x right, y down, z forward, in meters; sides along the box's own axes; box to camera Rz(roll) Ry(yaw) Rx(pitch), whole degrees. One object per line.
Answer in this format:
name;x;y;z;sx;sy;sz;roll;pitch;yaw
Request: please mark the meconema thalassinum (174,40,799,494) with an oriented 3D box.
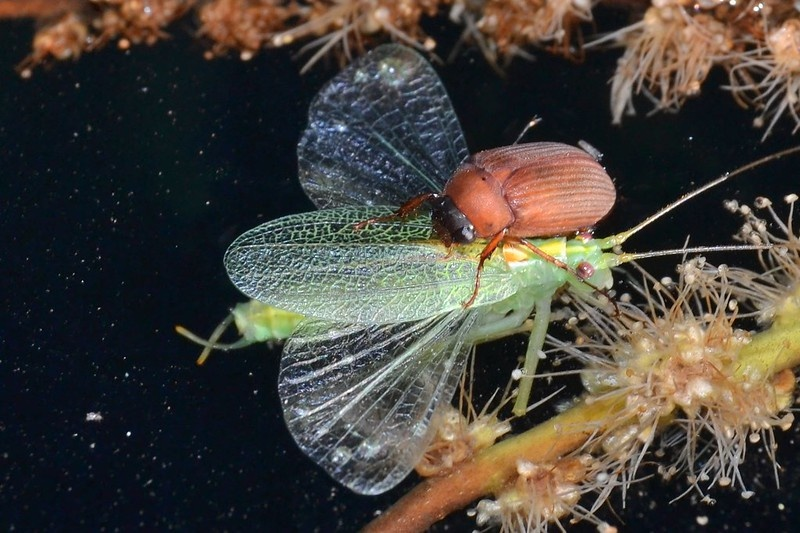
meconema thalassinum;0.261;0.084;3.191;1.748;0.759;1.418;-4;74;2
